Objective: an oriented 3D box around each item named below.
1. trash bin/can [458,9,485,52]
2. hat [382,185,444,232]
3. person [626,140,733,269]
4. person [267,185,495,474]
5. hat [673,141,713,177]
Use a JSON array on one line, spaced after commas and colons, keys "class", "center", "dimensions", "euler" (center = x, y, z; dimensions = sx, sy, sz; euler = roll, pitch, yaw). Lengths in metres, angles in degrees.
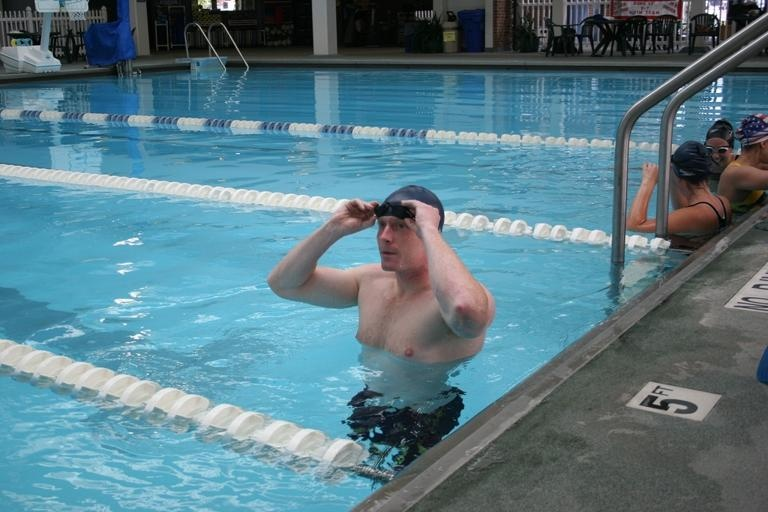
[{"class": "trash bin/can", "center": [2.641, -7.047, 18.506], "dimensions": [0.660, 1.265, 1.067], "euler": [-11, 18, -25]}, {"class": "hat", "center": [0.131, -0.191, 2.284], "dimensions": [0.209, 0.156, 0.233], "euler": [17, 14, 14]}, {"class": "person", "center": [1.834, -0.381, 3.698], "dimensions": [0.511, 0.662, 0.616], "euler": [10, 20, 37]}, {"class": "person", "center": [0.044, 0.212, 2.258], "dimensions": [0.626, 0.871, 0.811], "euler": [-12, 18, -27]}, {"class": "hat", "center": [1.960, -0.612, 3.767], "dimensions": [0.220, 0.243, 0.205], "euler": [-2, 16, 3]}]
